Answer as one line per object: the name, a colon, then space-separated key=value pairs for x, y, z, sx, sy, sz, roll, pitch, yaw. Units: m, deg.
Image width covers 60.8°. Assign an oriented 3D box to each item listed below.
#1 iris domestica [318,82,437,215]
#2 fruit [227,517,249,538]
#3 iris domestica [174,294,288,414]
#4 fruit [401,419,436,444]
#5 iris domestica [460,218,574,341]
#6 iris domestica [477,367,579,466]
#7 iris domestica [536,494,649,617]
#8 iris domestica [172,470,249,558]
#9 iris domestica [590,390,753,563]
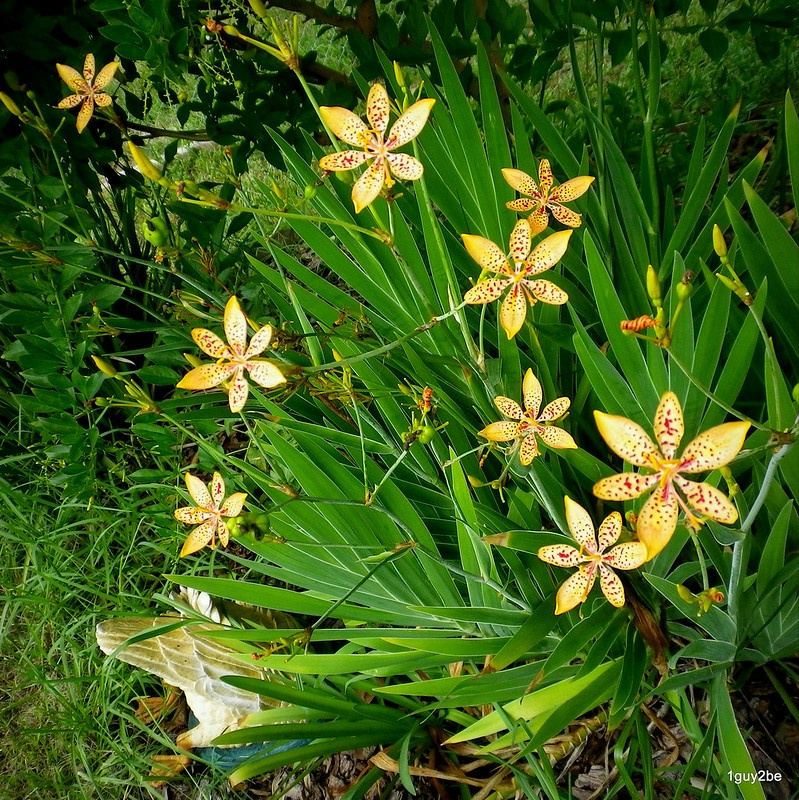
iris domestica: x=-0.019 y=-0.268 z=0.816 sx=0.130 sy=0.096 sz=0.158 roll=17 pitch=101 yaw=21
fruit: x=-0.181 y=0.142 z=0.772 sx=0.022 sy=0.023 sz=0.025 roll=3 pitch=91 yaw=-22
iris domestica: x=-0.173 y=-0.043 z=0.749 sx=0.126 sy=0.051 sz=0.118 roll=-38 pitch=76 yaw=20
fruit: x=0.027 y=0.048 z=0.898 sx=0.035 sy=0.018 sz=0.036 roll=-42 pitch=41 yaw=15
iris domestica: x=0.142 y=-0.148 z=0.817 sx=0.167 sy=0.148 sz=0.071 roll=6 pitch=67 yaw=-36
iris domestica: x=0.168 y=0.032 z=0.858 sx=0.117 sy=0.129 sz=0.053 roll=-27 pitch=102 yaw=10
iris domestica: x=0.205 y=0.161 z=0.711 sx=0.122 sy=0.023 sz=0.119 roll=-22 pitch=39 yaw=44
iris domestica: x=-0.222 y=0.136 z=0.827 sx=0.085 sy=0.107 sz=0.039 roll=-7 pitch=109 yaw=16
iris domestica: x=0.229 y=0.061 z=0.596 sx=0.134 sy=0.042 sz=0.147 roll=34 pitch=87 yaw=10
